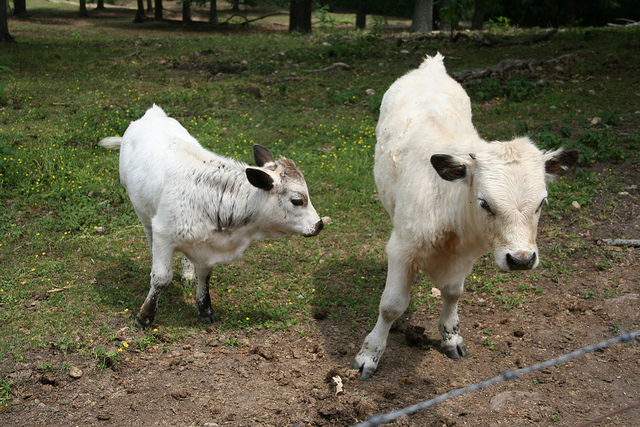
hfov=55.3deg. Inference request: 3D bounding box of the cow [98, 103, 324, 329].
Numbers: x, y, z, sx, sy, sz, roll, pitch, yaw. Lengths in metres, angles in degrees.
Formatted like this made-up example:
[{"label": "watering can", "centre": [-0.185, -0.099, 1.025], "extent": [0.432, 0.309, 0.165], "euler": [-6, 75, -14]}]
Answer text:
[{"label": "cow", "centre": [-2.299, 0.197, 11.210], "extent": [3.809, 3.172, 2.437], "euler": [18, 28, 33]}]
